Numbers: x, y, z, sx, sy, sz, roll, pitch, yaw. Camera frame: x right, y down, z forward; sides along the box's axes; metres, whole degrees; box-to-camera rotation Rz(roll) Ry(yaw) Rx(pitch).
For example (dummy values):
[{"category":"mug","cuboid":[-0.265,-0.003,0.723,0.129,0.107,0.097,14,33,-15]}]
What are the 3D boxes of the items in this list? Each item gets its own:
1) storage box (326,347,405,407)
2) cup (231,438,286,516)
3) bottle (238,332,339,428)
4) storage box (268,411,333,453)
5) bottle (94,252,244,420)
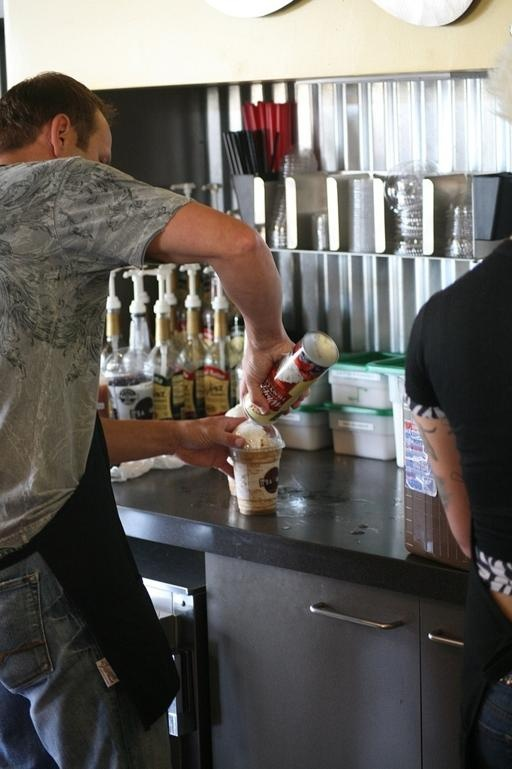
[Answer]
[{"category":"storage box","cuboid":[0.288,0.011,1.878,0.176,0.110,0.238,4,1,17]},{"category":"cup","cuboid":[0.004,0.179,1.383,0.147,0.148,0.138,-1,-1,0]},{"category":"bottle","cuboid":[0.056,-0.005,1.140,0.061,0.063,0.190,-19,-20,-41]},{"category":"storage box","cuboid":[0.128,0.130,1.883,0.106,0.088,0.144,-2,-3,33]},{"category":"bottle","cuboid":[-0.302,-0.139,2.032,0.471,0.511,0.381,-8,10,-42]}]
